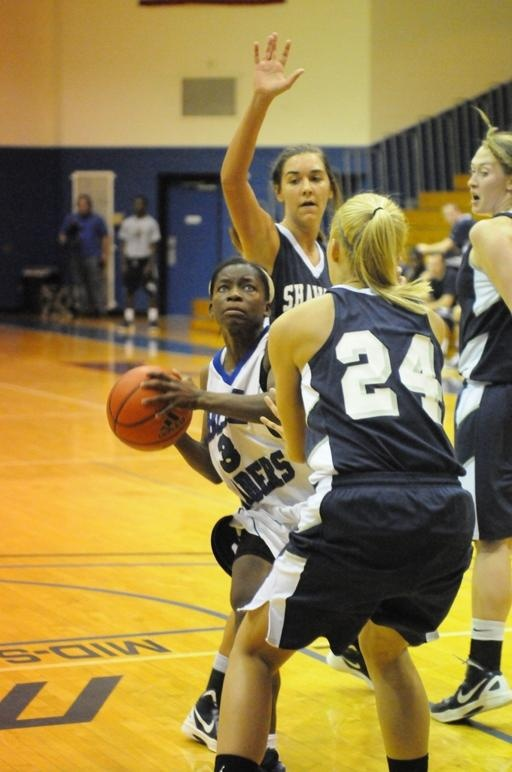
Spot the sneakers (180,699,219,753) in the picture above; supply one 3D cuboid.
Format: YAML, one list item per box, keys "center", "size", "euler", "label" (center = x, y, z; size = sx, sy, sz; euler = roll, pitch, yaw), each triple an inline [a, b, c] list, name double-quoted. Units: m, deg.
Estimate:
- center: [-0.116, 0.759, 1.716]
  size: [0.096, 0.108, 0.046]
  euler: [5, 4, 38]
  label: "sneakers"

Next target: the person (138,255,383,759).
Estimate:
- center: [-0.062, 0.251, 1.750]
  size: [0.372, 1.135, 0.603]
  euler: [3, 3, 3]
  label: "person"
